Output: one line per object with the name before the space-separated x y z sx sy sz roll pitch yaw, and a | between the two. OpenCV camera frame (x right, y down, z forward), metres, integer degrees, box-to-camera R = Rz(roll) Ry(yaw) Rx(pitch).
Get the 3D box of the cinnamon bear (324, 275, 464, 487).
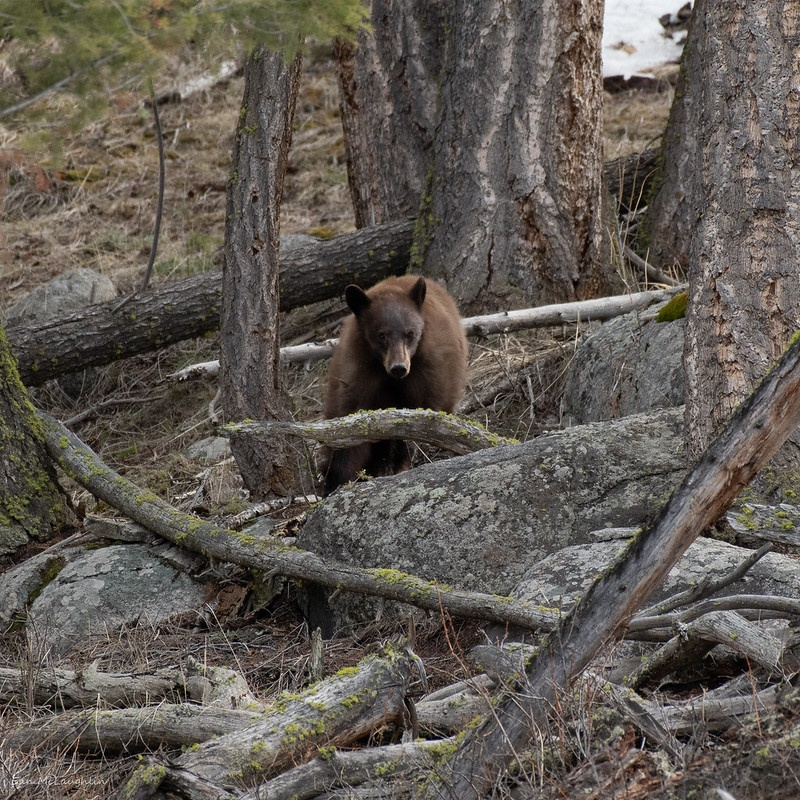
cinnamon bear | -0.088 -0.249 10.499 0.753 1.434 1.803 1 11 -1
